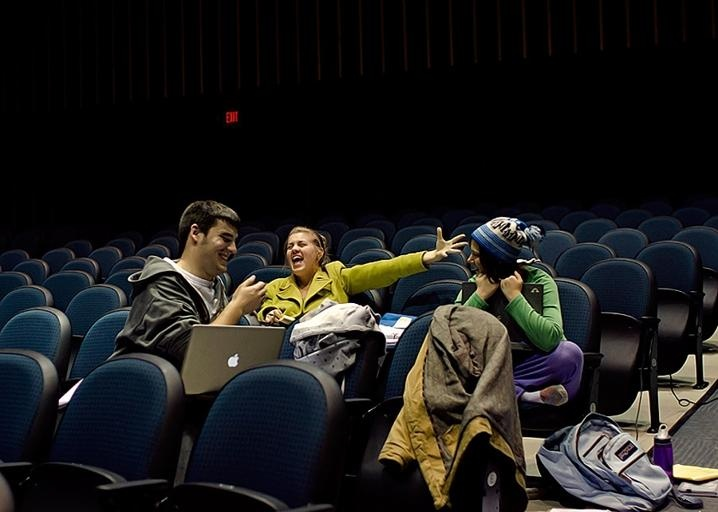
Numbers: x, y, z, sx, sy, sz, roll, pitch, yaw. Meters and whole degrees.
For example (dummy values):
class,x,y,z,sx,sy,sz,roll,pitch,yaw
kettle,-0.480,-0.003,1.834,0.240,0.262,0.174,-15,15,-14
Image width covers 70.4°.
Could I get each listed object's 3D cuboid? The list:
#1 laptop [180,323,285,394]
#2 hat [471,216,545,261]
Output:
class,x,y,z,sx,sy,sz,roll,pitch,yaw
laptop,-0.426,0.325,1.714,0.229,0.223,0.334,20,9,39
hat,0.651,-0.069,2.245,0.269,0.165,0.211,13,7,8
